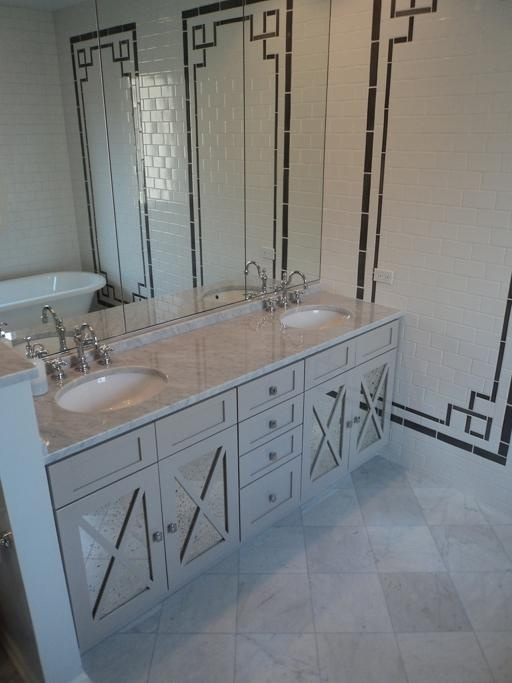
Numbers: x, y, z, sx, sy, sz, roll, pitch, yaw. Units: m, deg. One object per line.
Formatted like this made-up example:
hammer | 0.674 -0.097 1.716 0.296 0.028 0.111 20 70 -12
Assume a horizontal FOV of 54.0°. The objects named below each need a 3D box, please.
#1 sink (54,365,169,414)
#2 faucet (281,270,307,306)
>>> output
sink | -0.488 0.174 1.708 0.354 0.123 0.156 -11 22 -22
faucet | 0.194 -0.277 2.654 0.099 0.216 0.144 -22 37 -32
